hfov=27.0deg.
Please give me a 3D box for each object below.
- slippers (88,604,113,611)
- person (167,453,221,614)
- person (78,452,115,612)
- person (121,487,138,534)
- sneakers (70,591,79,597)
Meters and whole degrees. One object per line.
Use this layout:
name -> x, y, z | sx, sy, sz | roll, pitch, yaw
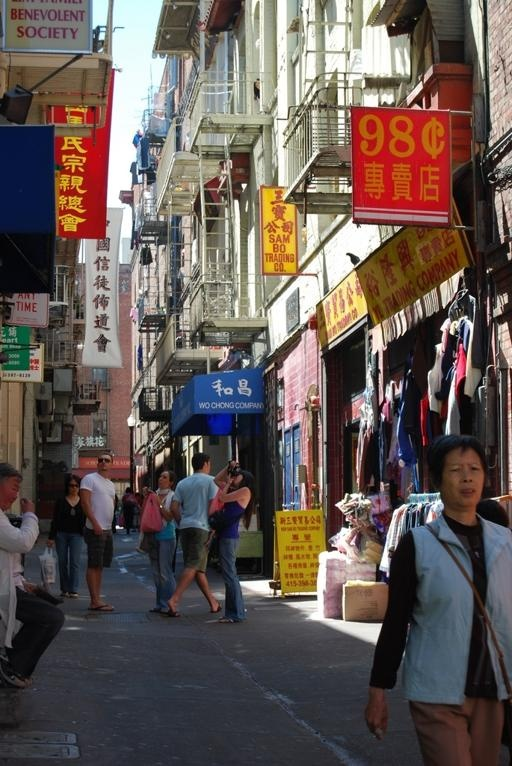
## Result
slippers -> -1.817, 2.617, 12.425 | 0.191, 0.057, 0.115 | -1, -5, 1
person -> -0.704, 1.674, 12.012 | 0.578, 1.830, 0.938 | 1, -6, -2
person -> -1.936, 1.766, 12.886 | 0.406, 1.841, 1.259 | 2, -6, -9
person -> -5.203, 5.112, 43.237 | 0.488, 2.060, 0.541 | 2, 21, -9
sneakers -> -2.462, 2.857, 14.479 | 0.052, 0.129, 0.159 | 6, -15, -37
